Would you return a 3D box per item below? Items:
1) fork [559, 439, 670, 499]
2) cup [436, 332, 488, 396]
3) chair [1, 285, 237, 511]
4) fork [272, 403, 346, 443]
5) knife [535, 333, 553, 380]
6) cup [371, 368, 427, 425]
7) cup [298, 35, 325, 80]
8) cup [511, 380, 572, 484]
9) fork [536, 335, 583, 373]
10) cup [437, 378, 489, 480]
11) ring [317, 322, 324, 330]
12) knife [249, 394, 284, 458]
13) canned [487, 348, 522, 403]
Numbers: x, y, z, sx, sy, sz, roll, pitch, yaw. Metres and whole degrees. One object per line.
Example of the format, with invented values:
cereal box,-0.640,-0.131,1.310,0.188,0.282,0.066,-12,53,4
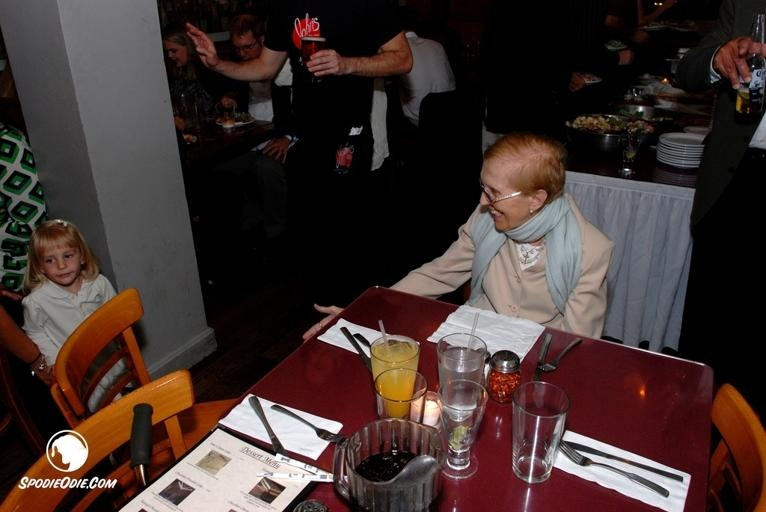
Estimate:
fork,0.613,0.573,1.366,0.259,0.040,0.035,24,45,22
cup,0.234,0.341,1.606,0.151,0.158,0.164,-2,21,1
chair,-1.042,0.513,1.912,0.494,0.729,0.487,20,52,5
fork,-0.215,0.482,1.474,0.189,0.021,0.028,18,52,36
knife,0.524,0.317,1.666,0.045,0.029,0.197,11,32,21
cup,0.046,0.388,1.460,0.139,0.151,0.149,-1,7,0
cup,-0.368,-1.044,2.597,0.127,0.134,0.099,5,31,8
cup,0.421,0.478,1.372,0.165,0.238,0.163,-4,20,1
fork,0.576,0.310,1.669,0.058,0.040,0.343,22,21,28
cup,0.207,0.461,1.382,0.116,0.183,0.190,6,31,11
ring,-0.227,0.250,1.845,0.022,0.005,0.022,-17,31,11
knife,-0.332,0.482,1.462,0.049,0.024,0.345,-12,22,-18
canned,0.359,0.359,1.522,0.112,0.158,0.117,5,19,16
